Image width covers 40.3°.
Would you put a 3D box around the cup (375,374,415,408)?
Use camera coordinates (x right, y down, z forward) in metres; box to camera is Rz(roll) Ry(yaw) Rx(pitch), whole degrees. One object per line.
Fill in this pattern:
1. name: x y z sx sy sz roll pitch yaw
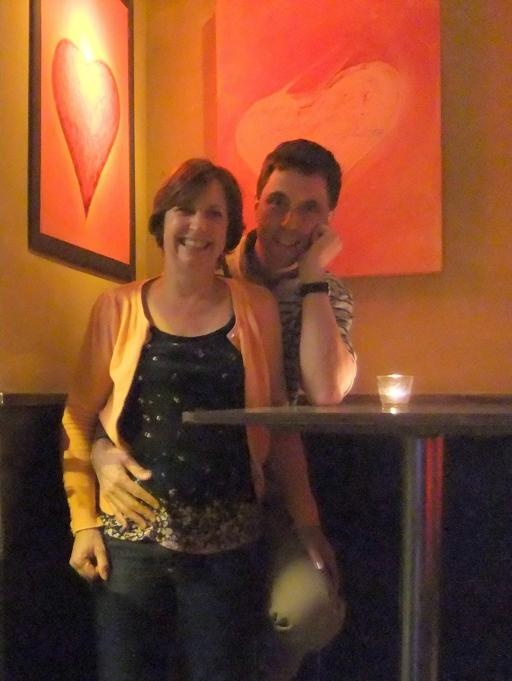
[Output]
1. cup: 0.261 0.099 1.364 0.070 0.046 0.073 -1 -6 0

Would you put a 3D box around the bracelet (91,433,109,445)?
1. bracelet: -0.298 0.190 1.353 0.028 0.010 0.026 -4 50 15

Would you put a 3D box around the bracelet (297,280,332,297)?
1. bracelet: 0.128 -0.115 1.545 0.058 0.032 0.051 -6 -6 32
